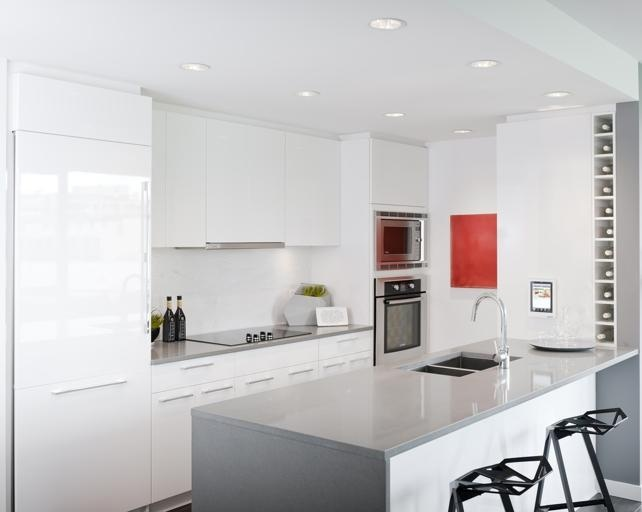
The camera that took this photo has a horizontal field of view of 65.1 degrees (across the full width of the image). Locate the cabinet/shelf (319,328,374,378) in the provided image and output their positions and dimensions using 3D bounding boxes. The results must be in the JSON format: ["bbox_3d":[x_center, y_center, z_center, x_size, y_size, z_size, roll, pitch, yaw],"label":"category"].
[{"bbox_3d":[0.232,0.880,4.647,0.352,0.260,0.586,-3,-3,45],"label":"cabinet/shelf"}]

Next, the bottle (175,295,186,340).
[{"bbox_3d":[-1.150,0.502,4.113,0.073,0.361,0.168,-1,2,-13],"label":"bottle"}]

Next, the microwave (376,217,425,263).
[{"bbox_3d":[0.816,-0.179,5.160,0.439,0.493,0.768,-1,-1,39],"label":"microwave"}]

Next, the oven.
[{"bbox_3d":[0.665,0.649,5.359,0.641,0.878,0.907,0,0,43],"label":"oven"}]

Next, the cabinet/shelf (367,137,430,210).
[{"bbox_3d":[0.766,-0.850,5.120,0.271,0.687,0.852,-1,-2,44],"label":"cabinet/shelf"}]

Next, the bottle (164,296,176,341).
[{"bbox_3d":[-1.221,0.504,4.045,0.099,0.352,0.172,-1,2,-8],"label":"bottle"}]

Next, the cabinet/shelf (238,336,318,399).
[{"bbox_3d":[-0.360,0.895,4.089,0.348,0.276,0.617,3,4,44],"label":"cabinet/shelf"}]

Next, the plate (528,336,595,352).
[{"bbox_3d":[1.818,0.670,3.792,0.434,0.054,0.455,0,2,14],"label":"plate"}]
